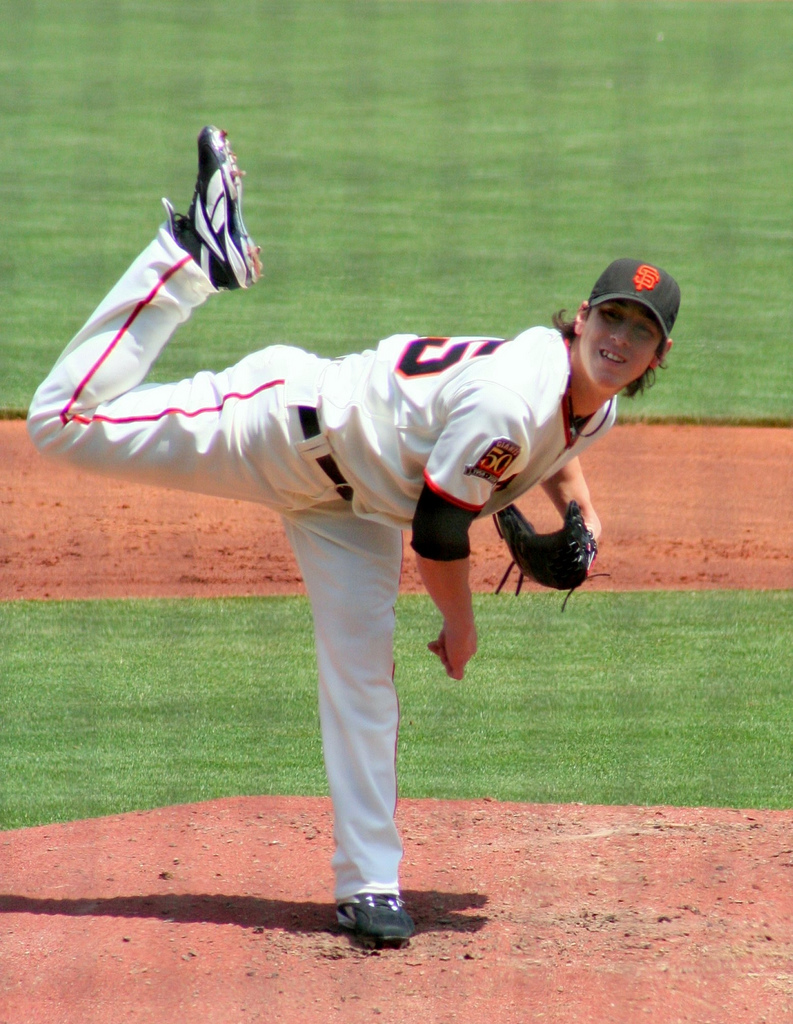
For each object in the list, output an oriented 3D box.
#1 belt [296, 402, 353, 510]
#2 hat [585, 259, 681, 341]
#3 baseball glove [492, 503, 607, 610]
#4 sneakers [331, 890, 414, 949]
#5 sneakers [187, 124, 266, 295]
[{"bbox_3d":[-0.132,-0.147,4.617,0.047,0.192,0.143,-30,47,0],"label":"belt"},{"bbox_3d":[0.545,-0.492,4.516,0.208,0.194,0.141,-3,-4,1],"label":"hat"},{"bbox_3d":[0.384,0.109,4.890,0.269,0.205,0.219,16,8,32],"label":"baseball glove"},{"bbox_3d":[-0.046,0.955,4.587,0.091,0.073,0.177,-3,0,-32],"label":"sneakers"},{"bbox_3d":[-0.464,-0.809,5.018,0.220,0.459,0.146,-15,-22,7],"label":"sneakers"}]
